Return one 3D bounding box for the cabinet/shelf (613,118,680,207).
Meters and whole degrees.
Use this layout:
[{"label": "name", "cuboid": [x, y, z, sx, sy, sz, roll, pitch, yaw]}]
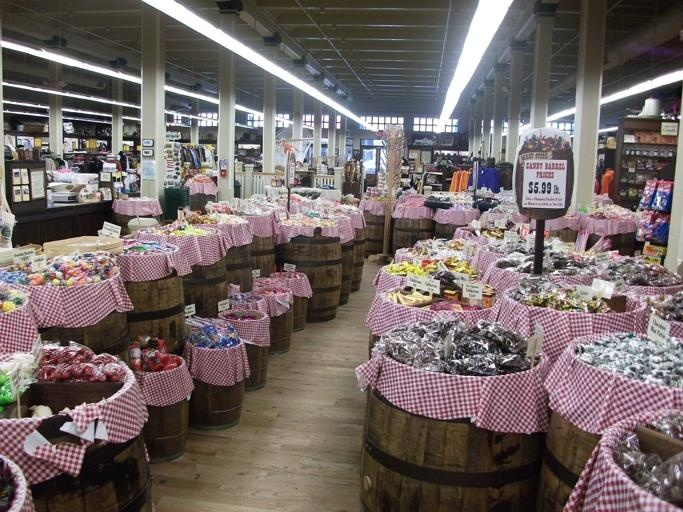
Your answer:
[{"label": "cabinet/shelf", "cuboid": [6.609, -2.050, 10.560, 1.243, 1.981, 0.375, 2, 12, -3]}]
